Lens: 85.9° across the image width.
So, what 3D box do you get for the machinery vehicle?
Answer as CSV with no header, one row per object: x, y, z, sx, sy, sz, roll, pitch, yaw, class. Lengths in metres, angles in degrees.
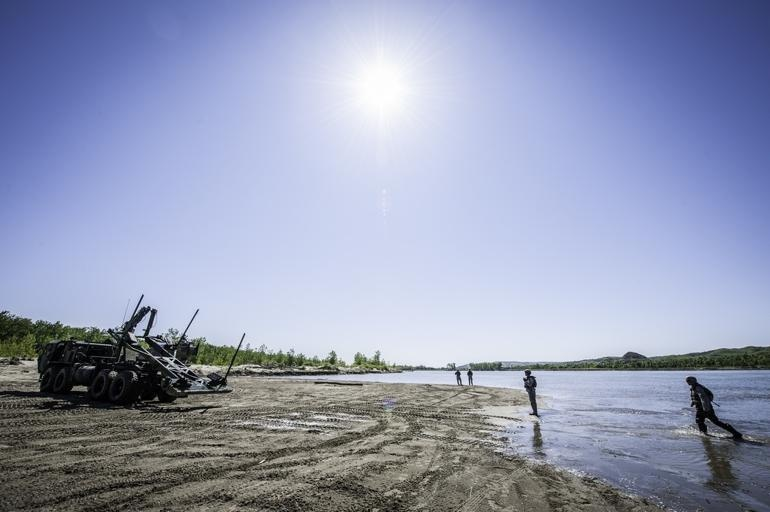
-15.462,5.776,24.888,10.875,4.471,4.091,0,-15,15,machinery vehicle

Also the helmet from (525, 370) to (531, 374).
8.828,7.164,25.521,0.450,0.187,0.541,-2,-5,4,helmet
